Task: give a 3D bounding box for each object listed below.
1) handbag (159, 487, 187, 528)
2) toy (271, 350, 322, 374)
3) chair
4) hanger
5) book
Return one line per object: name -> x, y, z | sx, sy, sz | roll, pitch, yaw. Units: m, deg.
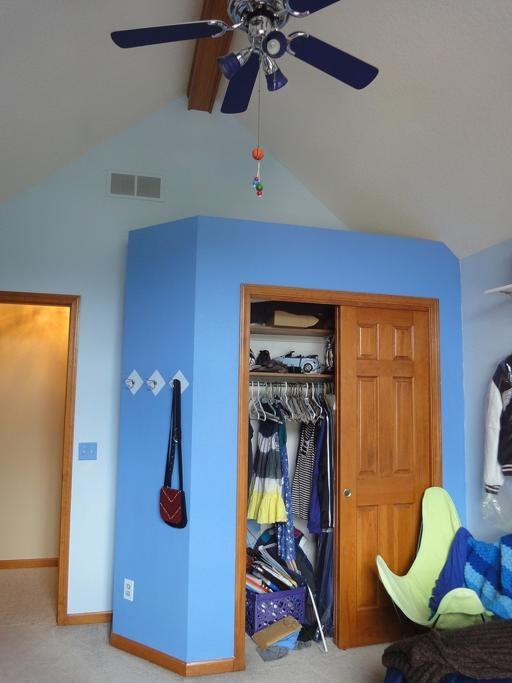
handbag -> -0.432, 0.871, 3.092 | 0.059, 0.221, 0.216 | 3, -4, -45
toy -> 0.260, 0.140, 3.692 | 0.245, 0.112, 0.142 | 4, -4, 10
chair -> 0.933, 1.231, 3.215 | 0.545, 0.781, 0.561 | 0, -6, 9
hanger -> 0.202, 0.366, 3.646 | 0.401, 0.160, 0.277 | -1, 1, -5
book -> 0.074, 1.438, 3.544 | 0.355, 0.383, 0.371 | 2, -6, -23
